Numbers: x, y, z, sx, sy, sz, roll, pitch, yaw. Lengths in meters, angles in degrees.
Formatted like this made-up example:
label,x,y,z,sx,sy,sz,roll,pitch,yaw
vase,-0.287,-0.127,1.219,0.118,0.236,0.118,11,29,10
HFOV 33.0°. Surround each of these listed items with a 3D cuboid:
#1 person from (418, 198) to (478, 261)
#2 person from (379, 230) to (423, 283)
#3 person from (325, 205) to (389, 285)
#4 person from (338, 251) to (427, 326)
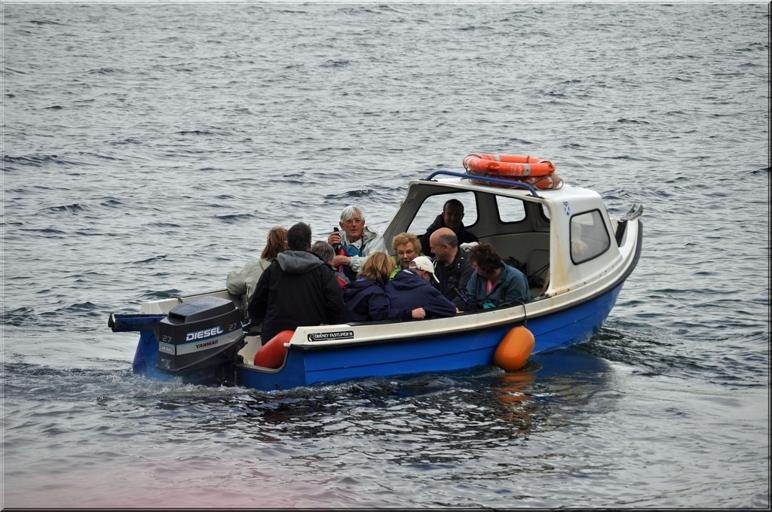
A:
label,x,y,z,sx,sy,sz,roll,pitch,yaw
person,1.506,-0.589,30.450,1.083,1.392,1.516,6,0,24
person,0.424,-0.047,28.739,1.409,1.174,0.988,1,-6,5
person,-0.759,-0.226,29.231,1.203,1.646,1.407,2,-2,6
person,-0.362,0.675,27.754,1.066,1.455,0.545,0,8,-2
